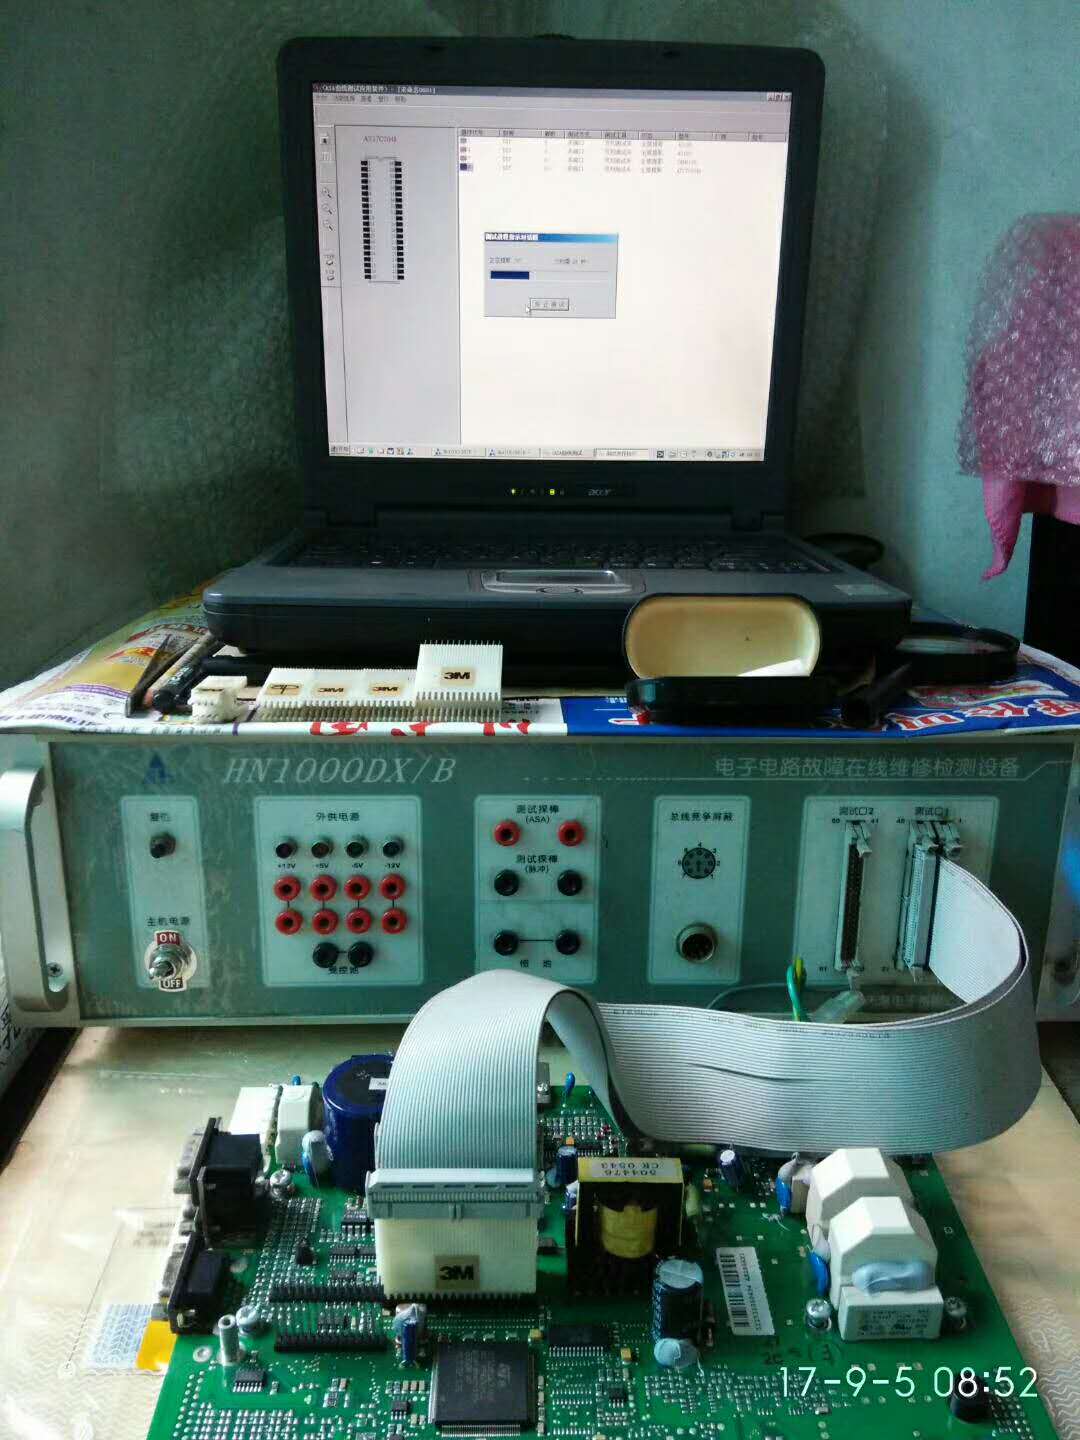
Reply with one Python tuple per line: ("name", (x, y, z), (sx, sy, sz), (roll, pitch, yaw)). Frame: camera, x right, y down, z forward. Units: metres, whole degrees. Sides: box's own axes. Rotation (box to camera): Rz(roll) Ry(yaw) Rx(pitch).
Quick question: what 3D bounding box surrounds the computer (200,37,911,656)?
("computer", (0.002, -0.371, 1.046), (0.605, 0.542, 0.418), (0, 19, -3))
